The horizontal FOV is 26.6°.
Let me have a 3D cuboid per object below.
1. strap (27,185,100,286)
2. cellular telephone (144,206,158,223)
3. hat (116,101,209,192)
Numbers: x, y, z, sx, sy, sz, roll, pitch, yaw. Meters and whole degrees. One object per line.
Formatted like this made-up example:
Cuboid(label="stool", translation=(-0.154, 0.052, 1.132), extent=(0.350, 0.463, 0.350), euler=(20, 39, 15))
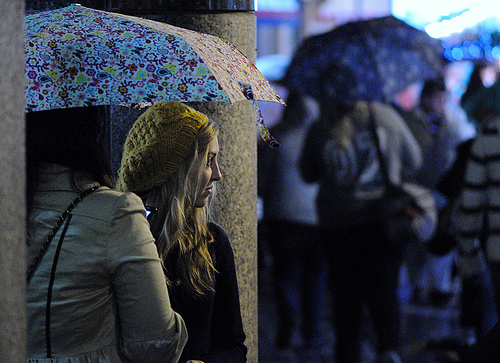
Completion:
Cuboid(label="strap", translation=(-1.084, 0.341, 6.143), extent=(0.078, 0.613, 0.060), euler=(30, -20, -26))
Cuboid(label="cellular telephone", translation=(-0.646, 0.211, 6.757), extent=(0.083, 0.088, 0.023), euler=(13, 7, 7))
Cuboid(label="hat", translation=(-0.618, -0.351, 6.919), extent=(0.660, 0.225, 0.720), euler=(21, -20, -7))
